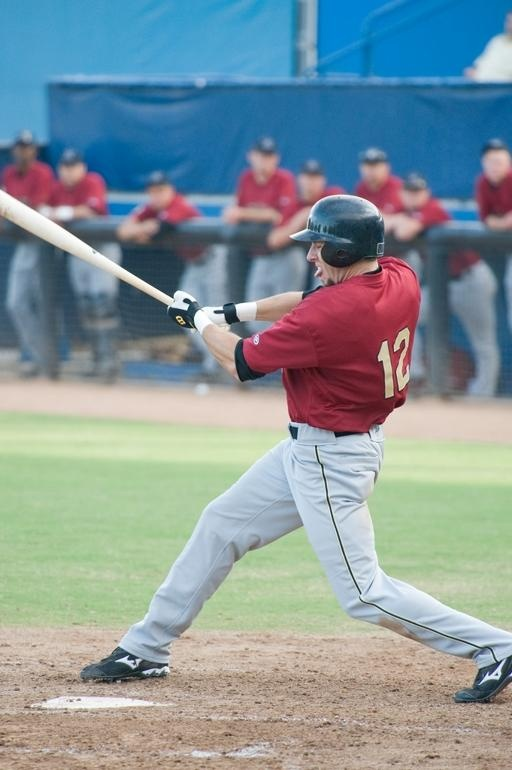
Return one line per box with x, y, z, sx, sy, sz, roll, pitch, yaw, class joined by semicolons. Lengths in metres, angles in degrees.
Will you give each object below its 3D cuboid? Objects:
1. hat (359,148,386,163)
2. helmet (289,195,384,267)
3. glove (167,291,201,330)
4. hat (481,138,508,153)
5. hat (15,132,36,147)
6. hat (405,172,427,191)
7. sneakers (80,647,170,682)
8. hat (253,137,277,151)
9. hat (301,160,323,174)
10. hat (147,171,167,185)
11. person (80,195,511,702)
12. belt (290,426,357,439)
0.707;-1.395;7.996;0.101;0.047;0.120;-1;-3;-3;hat
0.227;-0.443;3.756;0.263;0.203;0.212;2;9;7;helmet
-0.224;-0.244;4.235;0.135;0.100;0.063;32;38;31;glove
1.317;-1.319;7.226;0.131;0.080;0.094;2;9;5;hat
-1.731;-1.848;9.734;0.146;0.116;0.133;0;-2;1;hat
0.978;-1.242;8.032;0.085;0.108;0.186;-5;11;-33;hat
-0.398;0.844;3.993;0.270;0.111;0.097;3;-4;-11;sneakers
0.054;-1.489;8.136;0.105;0.082;0.030;-8;-1;-27;hat
0.346;-1.368;8.236;0.100;0.040;0.093;23;18;-11;hat
-0.657;-1.362;8.601;0.077;0.082;0.094;-3;-12;-10;hat
0.172;0.169;3.901;1.260;1.458;0.564;4;11;14;person
0.217;0.130;3.722;0.099;0.020;0.074;8;-8;-38;belt
